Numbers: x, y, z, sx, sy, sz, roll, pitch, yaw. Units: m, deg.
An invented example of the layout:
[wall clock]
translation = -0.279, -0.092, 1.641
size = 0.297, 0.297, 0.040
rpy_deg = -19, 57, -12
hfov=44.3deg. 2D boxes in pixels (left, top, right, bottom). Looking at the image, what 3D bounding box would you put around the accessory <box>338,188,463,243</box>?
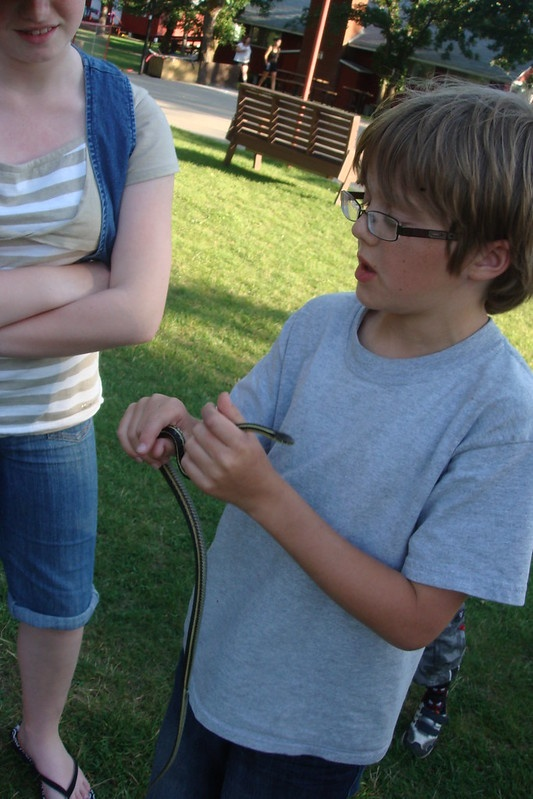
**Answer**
[accessory]
translation = 0.222, -0.319, 1.170
size = 0.152, 0.040, 0.150
rpy_deg = -9, 39, -41
